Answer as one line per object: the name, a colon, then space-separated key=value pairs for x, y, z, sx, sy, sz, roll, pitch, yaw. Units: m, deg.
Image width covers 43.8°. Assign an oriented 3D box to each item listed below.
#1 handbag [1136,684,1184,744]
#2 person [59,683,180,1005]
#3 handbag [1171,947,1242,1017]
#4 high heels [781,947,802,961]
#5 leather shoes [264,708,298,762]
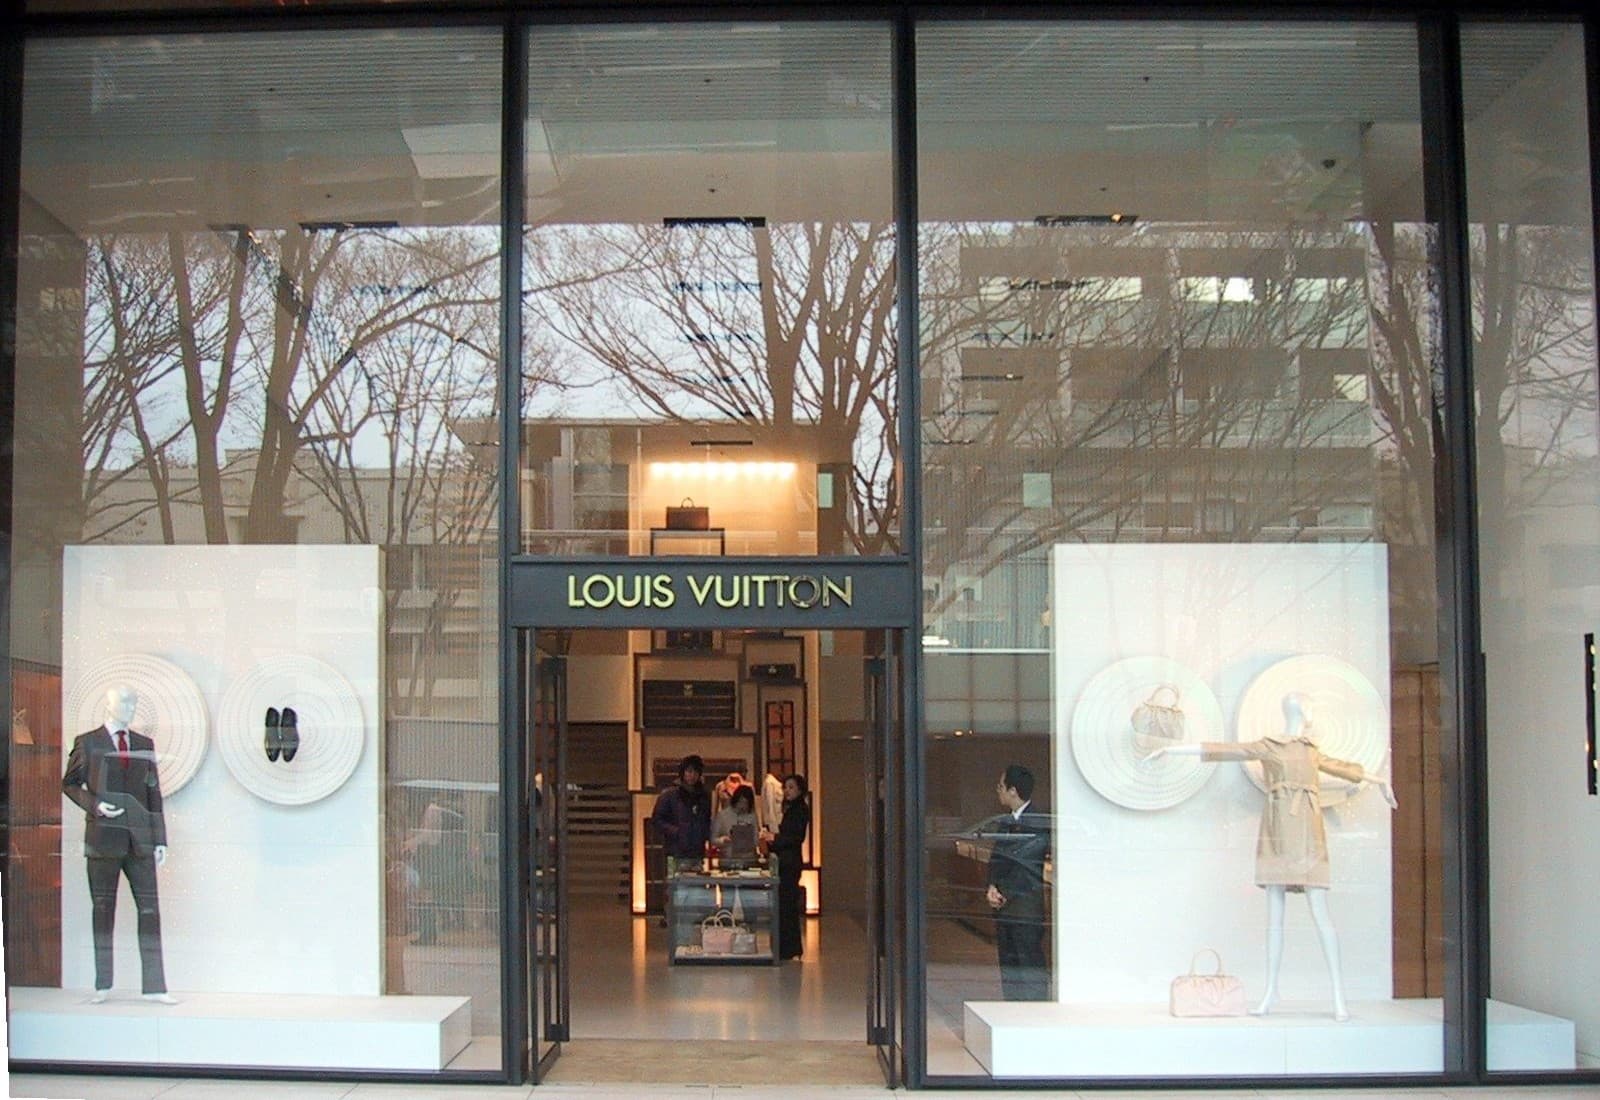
handbag: x=2.394 y=1.086 z=13.217 sx=0.378 sy=0.519 sz=0.283 roll=2 pitch=-3 yaw=16
person: x=-4.498 y=1.927 z=13.111 sx=0.627 sy=1.982 sz=0.230 roll=-3 pitch=-9 yaw=12
handbag: x=2.661 y=2.821 z=12.946 sx=0.414 sy=0.398 sz=0.152 roll=0 pitch=1 yaw=4
high heels: x=-0.073 y=3.518 z=17.312 sx=0.182 sy=0.103 sz=0.234 roll=-3 pitch=-10 yaw=10
leather shoes: x=-3.436 y=1.203 z=13.076 sx=0.229 sy=0.330 sz=0.115 roll=-1 pitch=-3 yaw=-2
